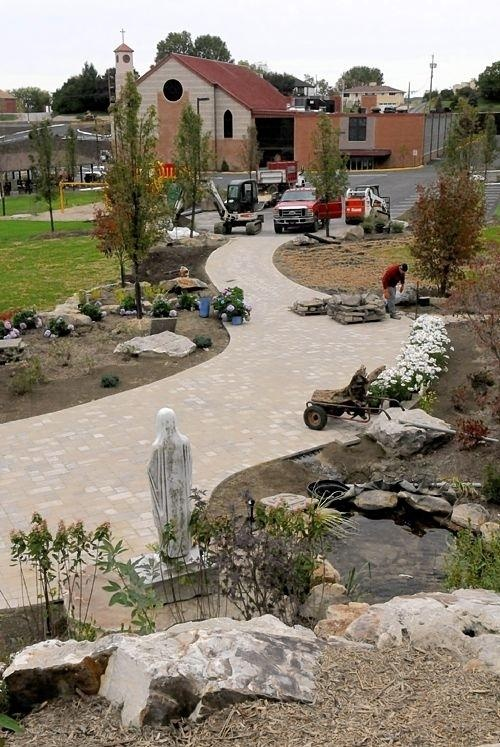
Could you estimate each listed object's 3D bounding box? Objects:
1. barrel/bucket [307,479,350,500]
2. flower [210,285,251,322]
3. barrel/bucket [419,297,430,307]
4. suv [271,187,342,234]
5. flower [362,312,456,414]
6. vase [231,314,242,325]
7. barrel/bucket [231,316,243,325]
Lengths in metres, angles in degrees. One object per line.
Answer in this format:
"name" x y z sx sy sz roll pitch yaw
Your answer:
"barrel/bucket" 1.034 1.549 9.164 0.384 0.118 0.272 -2 27 -11
"flower" -0.537 -1.915 18.785 1.081 0.734 0.983 1 8 3
"barrel/bucket" 5.127 -2.102 20.116 0.291 0.211 0.277 -2 19 1
"suv" 2.739 -8.798 36.618 3.769 2.508 3.912 -4 9 10
"flower" 3.294 -0.198 13.642 1.120 1.020 3.398 2 26 15
"vase" -0.388 -1.463 18.663 0.257 0.195 0.271 10 15 29
"barrel/bucket" -0.385 -1.440 18.649 0.241 0.169 0.234 -1 14 0
